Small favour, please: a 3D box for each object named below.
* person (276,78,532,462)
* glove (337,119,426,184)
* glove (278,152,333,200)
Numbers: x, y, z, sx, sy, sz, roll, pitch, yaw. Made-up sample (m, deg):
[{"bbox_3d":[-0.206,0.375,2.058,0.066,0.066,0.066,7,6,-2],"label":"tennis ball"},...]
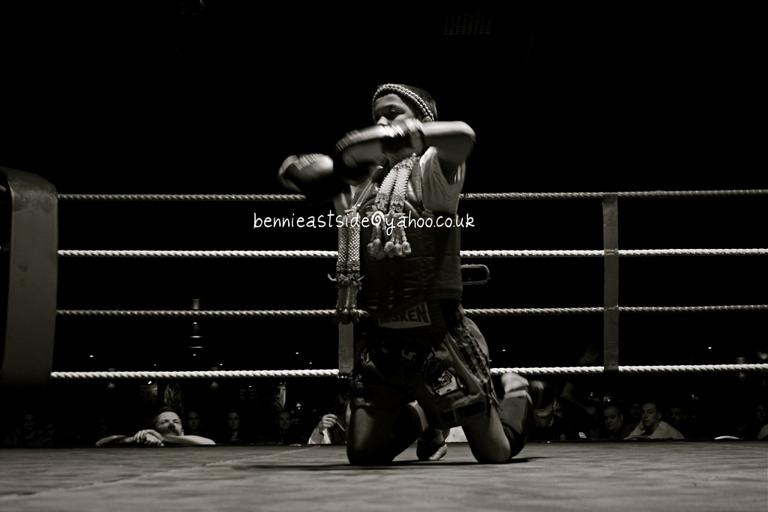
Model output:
[{"bbox_3d":[0.112,0.034,3.346,0.700,1.581,1.037,-4,-9,21],"label":"person"},{"bbox_3d":[-0.014,-0.392,3.039,0.245,0.084,0.281,-8,14,19],"label":"glove"},{"bbox_3d":[-0.279,-0.288,3.027,0.210,0.186,0.123,-1,-8,1],"label":"glove"}]
